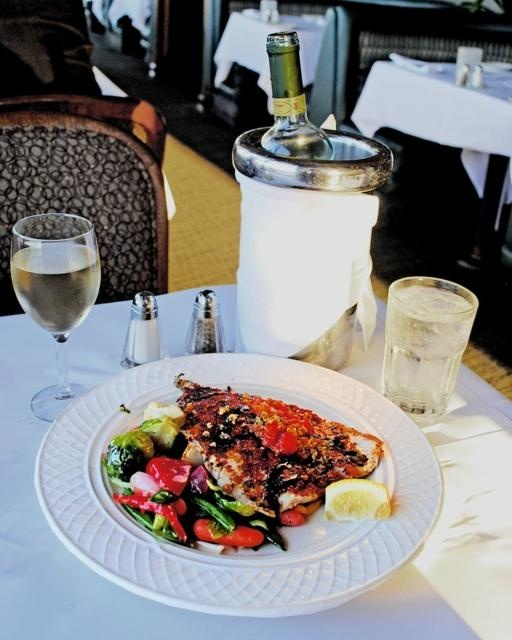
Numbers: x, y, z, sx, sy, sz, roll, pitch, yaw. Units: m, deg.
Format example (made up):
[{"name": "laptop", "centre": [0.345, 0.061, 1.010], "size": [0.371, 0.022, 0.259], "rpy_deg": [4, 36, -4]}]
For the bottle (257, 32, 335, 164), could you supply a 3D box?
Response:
[{"name": "bottle", "centre": [0.054, -0.268, 0.736], "size": [0.095, 0.143, 0.185], "rpy_deg": [7, 23, 5]}]

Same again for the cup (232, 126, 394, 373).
[{"name": "cup", "centre": [0.063, -0.098, 0.834], "size": [0.222, 0.284, 0.200], "rpy_deg": [17, 32, 24]}]

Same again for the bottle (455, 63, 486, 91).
[{"name": "bottle", "centre": [0.864, -1.002, 2.492], "size": [0.134, 0.122, 0.082], "rpy_deg": [21, 49, 31]}]

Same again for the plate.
[{"name": "plate", "centre": [-0.015, 0.136, 0.607], "size": [0.391, 0.051, 0.374], "rpy_deg": [8, 22, 11]}]

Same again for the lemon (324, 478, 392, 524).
[{"name": "lemon", "centre": [0.095, 0.164, 0.546], "size": [0.068, 0.038, 0.017], "rpy_deg": [-17, -28, 37]}]

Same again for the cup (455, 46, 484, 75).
[{"name": "cup", "centre": [0.874, -1.080, 2.508], "size": [0.111, 0.095, 0.097], "rpy_deg": [2, 38, 3]}]
